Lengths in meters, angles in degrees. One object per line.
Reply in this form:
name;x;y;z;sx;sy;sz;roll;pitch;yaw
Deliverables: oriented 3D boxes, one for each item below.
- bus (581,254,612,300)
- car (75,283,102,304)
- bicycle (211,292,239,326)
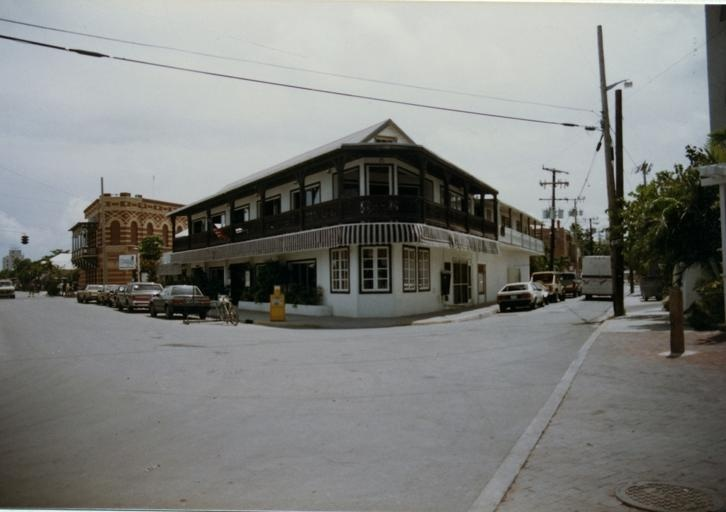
bus;14.442;1.355;43.369;2.531;2.961;4.497;0;-2;24
car;-21.097;2.934;52.766;1.458;1.158;3.216;0;1;-34
bicycle;-6.217;2.396;30.775;0.739;0.915;1.512;-7;10;-31
